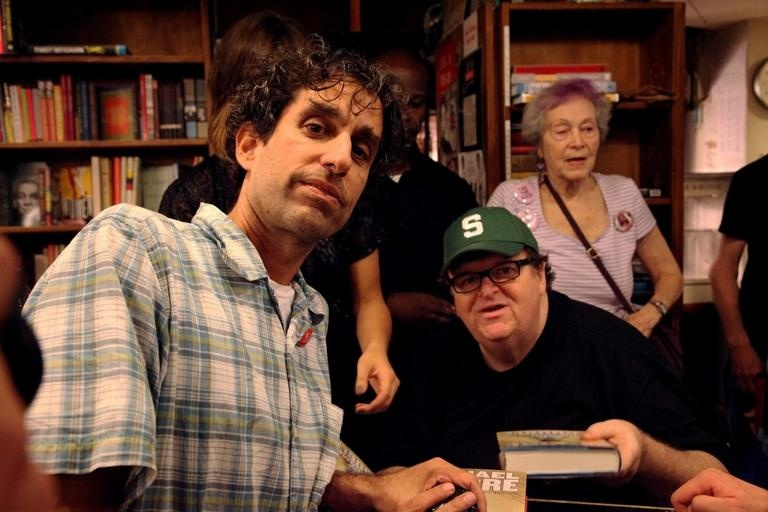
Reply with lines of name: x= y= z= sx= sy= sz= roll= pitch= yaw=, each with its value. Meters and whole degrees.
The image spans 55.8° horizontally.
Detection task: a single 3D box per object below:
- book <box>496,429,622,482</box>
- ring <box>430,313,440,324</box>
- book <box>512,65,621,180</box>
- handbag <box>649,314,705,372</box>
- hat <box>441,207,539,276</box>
book: x=0.648 y=0.732 z=2.653 sx=0.463 sy=0.183 sz=0.208 roll=-1 pitch=5 yaw=-9
ring: x=0.235 y=0.290 z=3.349 sx=0.025 sy=0.035 sz=0.008 roll=-14 pitch=-28 yaw=4
book: x=0.923 y=-0.717 z=3.800 sx=0.582 sy=0.146 sz=0.617 roll=-5 pitch=23 yaw=8
handbag: x=1.528 y=0.435 z=3.807 sx=0.297 sy=0.368 sz=0.132 roll=-12 pitch=-2 yaw=-43
hat: x=0.427 y=-0.089 z=3.092 sx=0.343 sy=0.235 sz=0.479 roll=-17 pitch=-7 yaw=26
